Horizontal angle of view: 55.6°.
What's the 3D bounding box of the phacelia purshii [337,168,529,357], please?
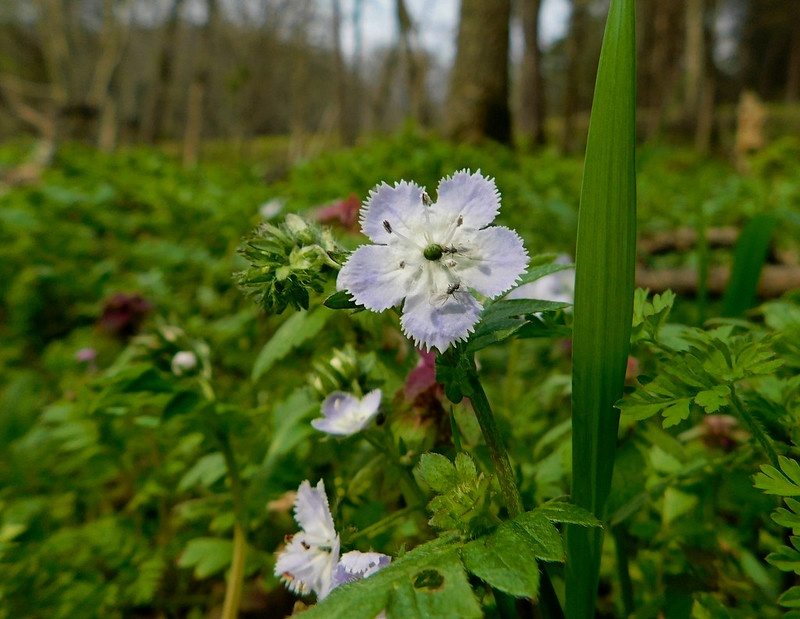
[{"bbox_3d":[0.087,-0.129,2.082,0.511,0.458,0.252,0,16,9],"label":"phacelia purshii"}]
